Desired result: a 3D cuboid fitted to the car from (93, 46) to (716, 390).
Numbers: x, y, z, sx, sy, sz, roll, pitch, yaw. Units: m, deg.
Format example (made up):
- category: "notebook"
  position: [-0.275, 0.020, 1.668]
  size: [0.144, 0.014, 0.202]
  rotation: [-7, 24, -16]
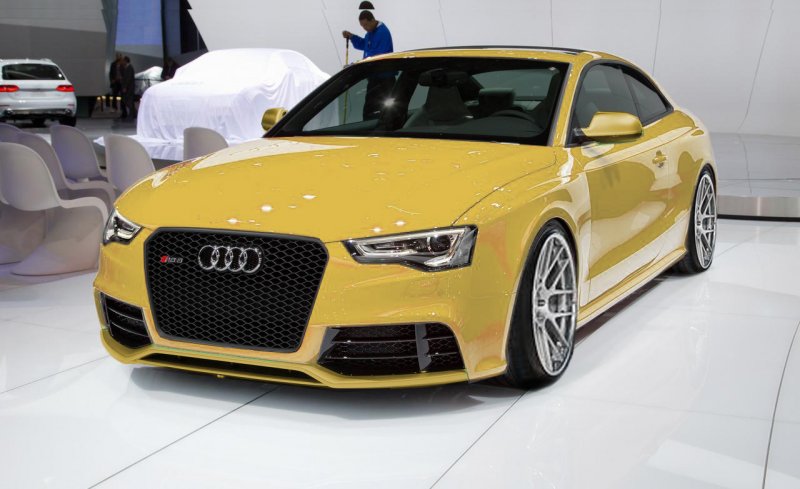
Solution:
- category: "car"
  position: [0.273, -0.340, 3.676]
  size: [4.150, 1.932, 2.052]
  rotation: [-16, 23, -37]
